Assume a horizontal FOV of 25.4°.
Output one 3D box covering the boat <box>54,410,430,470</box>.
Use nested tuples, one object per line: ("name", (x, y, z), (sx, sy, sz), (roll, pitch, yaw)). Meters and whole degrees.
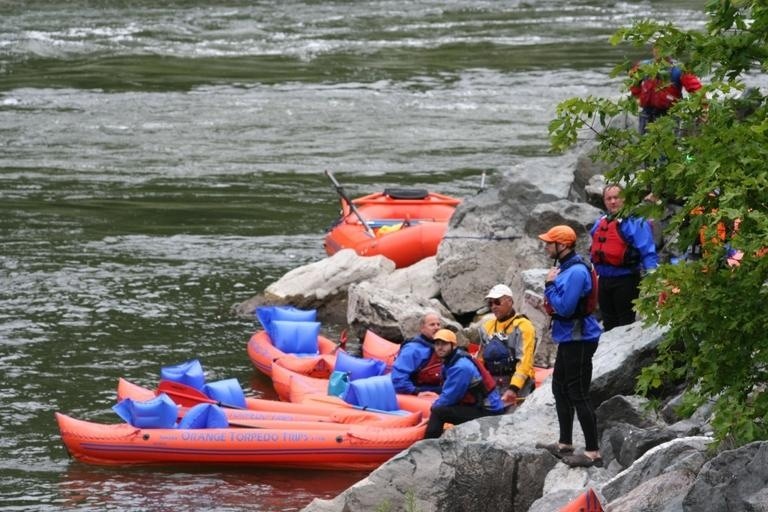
("boat", (-3.582, 3.821, 39.919), (9.853, 1.406, 2.375), (0, -6, 1))
